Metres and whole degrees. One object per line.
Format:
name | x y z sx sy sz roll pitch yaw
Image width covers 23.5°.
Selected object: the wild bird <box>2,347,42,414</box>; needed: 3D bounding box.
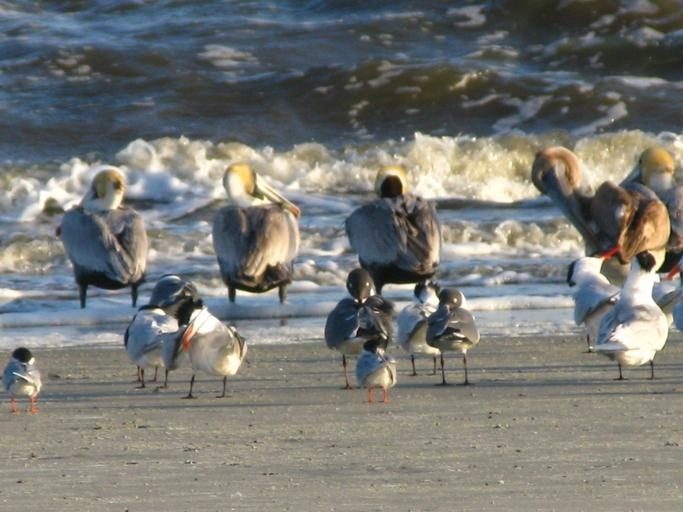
wild bird | -5.397 2.031 27.772 0.629 0.966 0.764 -3 10 -11
